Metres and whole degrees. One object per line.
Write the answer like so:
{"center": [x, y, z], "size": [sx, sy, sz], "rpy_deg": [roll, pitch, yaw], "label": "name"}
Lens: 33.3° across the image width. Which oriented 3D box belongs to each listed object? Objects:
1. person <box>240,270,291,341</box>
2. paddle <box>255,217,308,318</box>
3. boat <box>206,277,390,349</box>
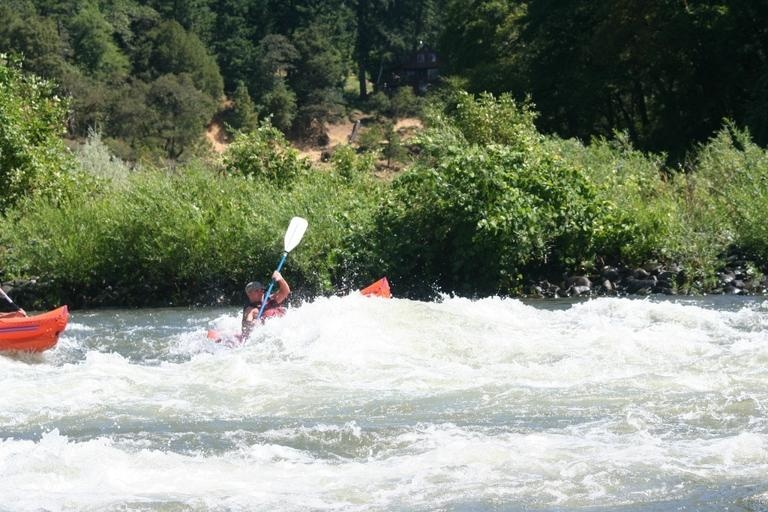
{"center": [-3.977, 1.916, 41.732], "size": [0.700, 1.492, 0.531], "rpy_deg": [-5, 18, 9], "label": "person"}
{"center": [-3.509, 0.470, 42.491], "size": [0.606, 5.192, 0.187], "rpy_deg": [35, -53, -14], "label": "paddle"}
{"center": [-2.664, 1.782, 42.278], "size": [6.363, 2.003, 2.013], "rpy_deg": [0, 1, -23], "label": "boat"}
